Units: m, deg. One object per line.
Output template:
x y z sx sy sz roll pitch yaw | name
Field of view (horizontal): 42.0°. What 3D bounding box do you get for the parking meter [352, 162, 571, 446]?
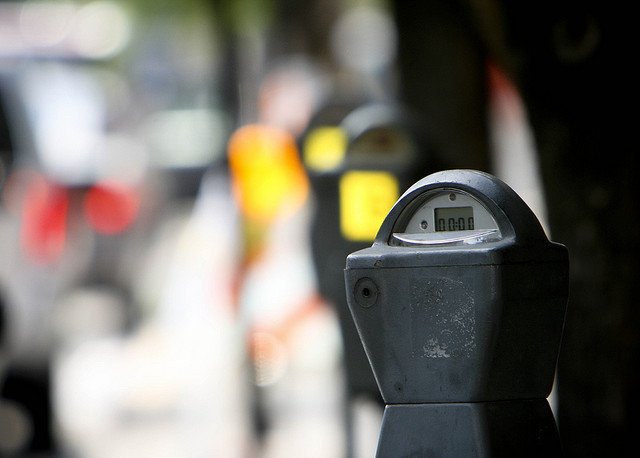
0.348 0.226 2.076 0.569 0.384 0.924 0 98 17 | parking meter
